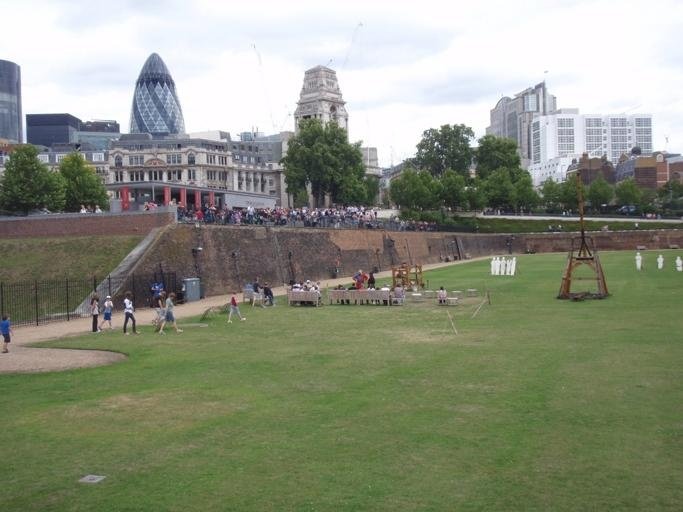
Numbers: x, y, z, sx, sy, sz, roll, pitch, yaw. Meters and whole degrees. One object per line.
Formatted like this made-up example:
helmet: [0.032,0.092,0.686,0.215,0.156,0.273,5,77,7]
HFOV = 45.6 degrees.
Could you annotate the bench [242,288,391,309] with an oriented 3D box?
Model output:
bench: [0.150,2.238,45.132,5.880,1.164,1.968,0,12,6]

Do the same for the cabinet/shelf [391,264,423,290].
cabinet/shelf: [4.242,1.484,52.885,1.903,1.922,1.866,-1,1,-45]
